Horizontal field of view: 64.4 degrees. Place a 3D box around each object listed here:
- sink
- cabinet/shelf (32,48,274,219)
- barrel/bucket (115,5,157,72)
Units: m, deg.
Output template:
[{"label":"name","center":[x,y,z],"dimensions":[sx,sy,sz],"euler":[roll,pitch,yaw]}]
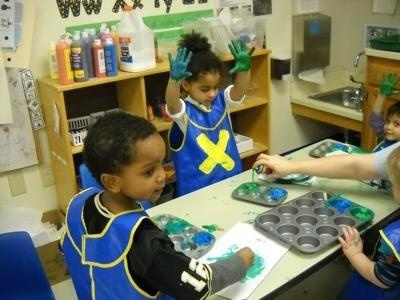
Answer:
[{"label":"sink","center":[1.625,-0.606,3.688],"dimensions":[0.457,0.166,0.379],"euler":[-20,31,-37]},{"label":"cabinet/shelf","center":[-0.371,-0.125,1.926],"dimensions":[1.156,1.019,0.336],"euler":[-24,31,-36]},{"label":"barrel/bucket","center":[-0.486,-0.821,2.361],"dimensions":[0.275,0.467,0.139],"euler":[-8,15,-12]}]
